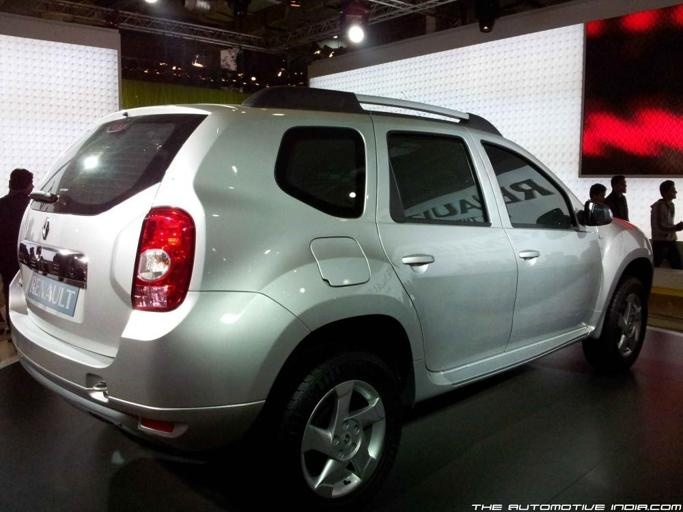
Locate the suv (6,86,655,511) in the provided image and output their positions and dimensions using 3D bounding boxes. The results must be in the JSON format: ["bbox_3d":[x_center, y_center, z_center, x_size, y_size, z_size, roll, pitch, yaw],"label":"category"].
[{"bbox_3d":[0.231,0.045,2.804,3.449,1.584,1.686,-7,9,-39],"label":"suv"}]
